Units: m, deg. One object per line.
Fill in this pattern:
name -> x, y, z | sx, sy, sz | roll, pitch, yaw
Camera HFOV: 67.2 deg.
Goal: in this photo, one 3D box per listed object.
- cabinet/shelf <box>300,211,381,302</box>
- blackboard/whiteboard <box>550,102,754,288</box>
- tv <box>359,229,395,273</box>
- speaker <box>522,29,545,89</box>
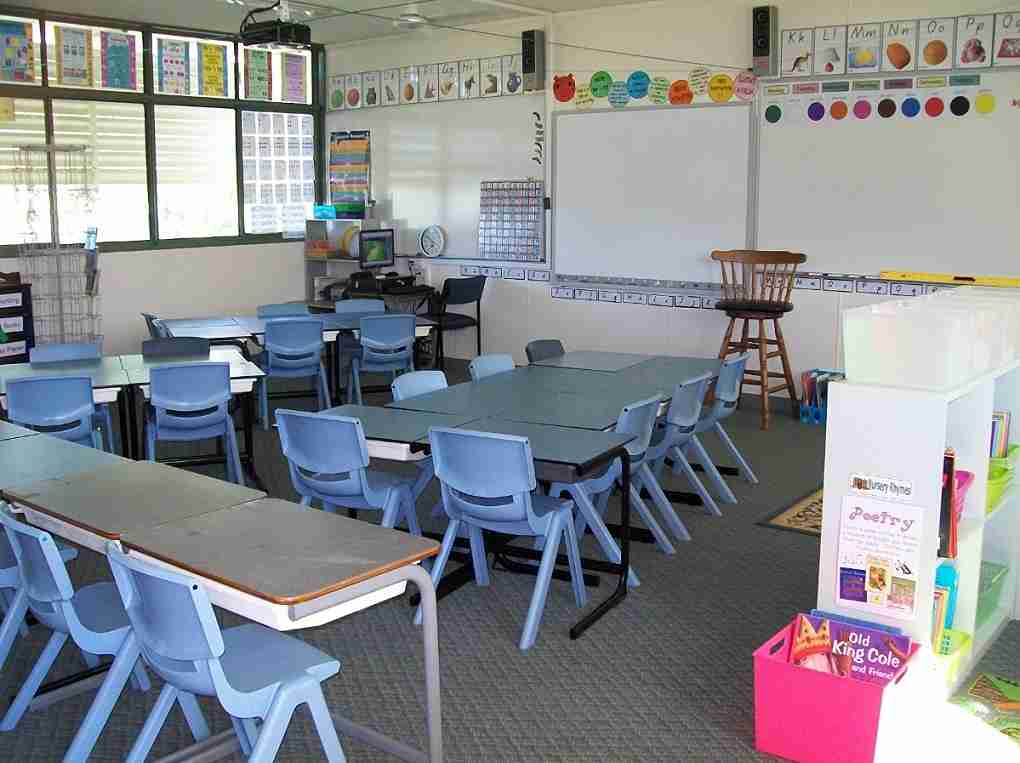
cabinet/shelf -> -2.037, -1.526, 9.353 | 1.154, 1.335, 0.421 | 11, 16, 32
blackboard/whiteboard -> 1.533, -1.951, 7.851 | 2.037, 1.725, 0.236 | 4, 10, 25
tv -> -1.593, -1.562, 9.062 | 0.056, 0.405, 0.549 | 7, 11, 34
speaker -> 0.239, -3.483, 8.320 | 0.271, 0.620, 0.126 | 6, 14, 25
